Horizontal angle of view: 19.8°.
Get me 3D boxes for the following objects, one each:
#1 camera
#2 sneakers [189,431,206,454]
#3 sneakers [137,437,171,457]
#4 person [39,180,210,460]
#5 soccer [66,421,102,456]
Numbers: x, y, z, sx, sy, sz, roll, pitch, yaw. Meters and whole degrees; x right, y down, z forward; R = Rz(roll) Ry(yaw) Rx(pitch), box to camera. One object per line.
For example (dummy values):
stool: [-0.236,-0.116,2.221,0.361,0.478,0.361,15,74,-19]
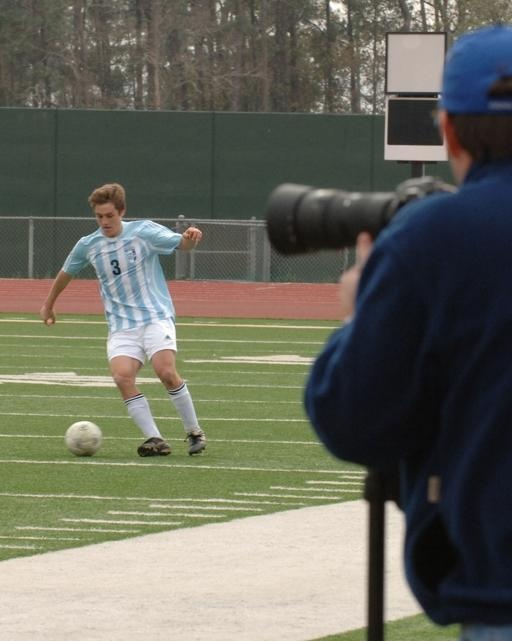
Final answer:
camera: [0.209,-0.183,2.677,0.141,0.142,0.403,-15,11,-43]
sneakers: [-0.327,0.675,8.128,0.099,0.130,0.219,-2,5,-2]
sneakers: [-0.555,0.699,8.101,0.083,0.089,0.189,-7,-19,28]
person: [-0.687,-0.010,8.252,0.620,1.497,0.743,-3,6,-14]
soccer: [-0.937,0.651,8.030,0.200,0.172,0.268,-1,5,6]
